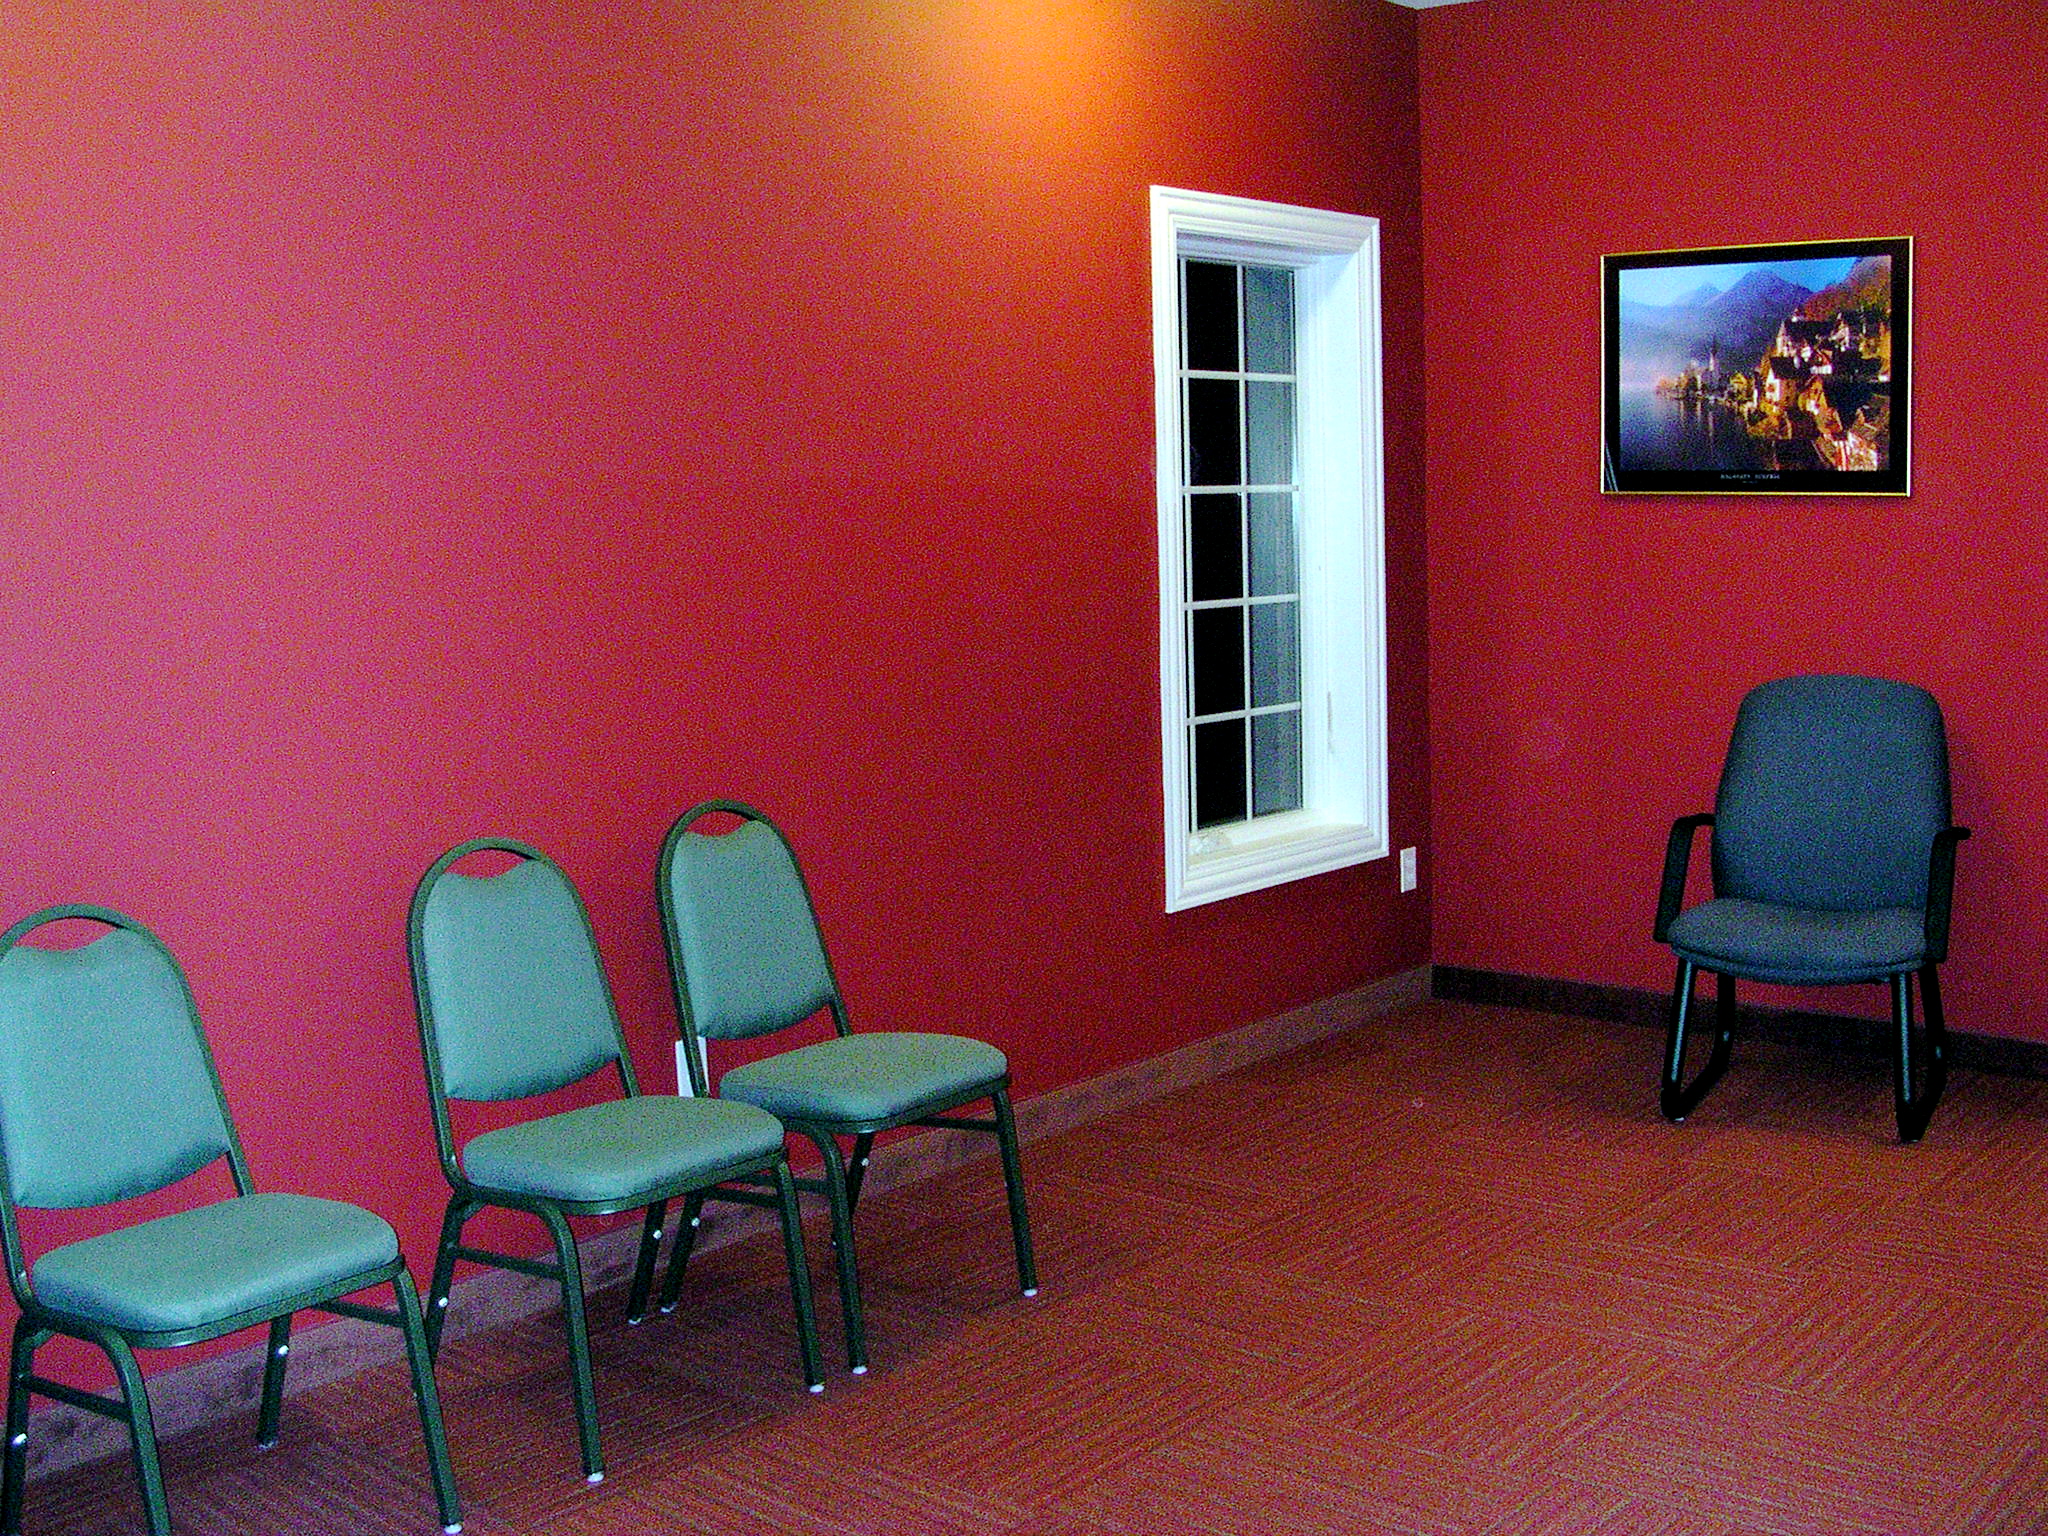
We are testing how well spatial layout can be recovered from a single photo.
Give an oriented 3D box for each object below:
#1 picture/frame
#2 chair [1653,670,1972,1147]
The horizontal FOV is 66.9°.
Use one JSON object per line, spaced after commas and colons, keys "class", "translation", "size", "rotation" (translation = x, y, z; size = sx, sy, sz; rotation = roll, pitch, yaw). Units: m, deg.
{"class": "picture/frame", "translation": [2.340, -1.250, 4.833], "size": [0.895, 0.724, 0.036], "rotation": [2, 5, 35]}
{"class": "chair", "translation": [2.313, 0.352, 4.528], "size": [0.747, 1.197, 0.935], "rotation": [3, 9, 31]}
